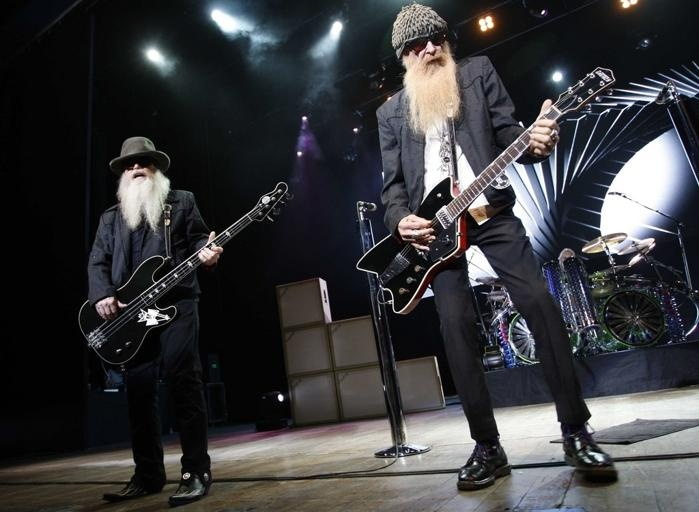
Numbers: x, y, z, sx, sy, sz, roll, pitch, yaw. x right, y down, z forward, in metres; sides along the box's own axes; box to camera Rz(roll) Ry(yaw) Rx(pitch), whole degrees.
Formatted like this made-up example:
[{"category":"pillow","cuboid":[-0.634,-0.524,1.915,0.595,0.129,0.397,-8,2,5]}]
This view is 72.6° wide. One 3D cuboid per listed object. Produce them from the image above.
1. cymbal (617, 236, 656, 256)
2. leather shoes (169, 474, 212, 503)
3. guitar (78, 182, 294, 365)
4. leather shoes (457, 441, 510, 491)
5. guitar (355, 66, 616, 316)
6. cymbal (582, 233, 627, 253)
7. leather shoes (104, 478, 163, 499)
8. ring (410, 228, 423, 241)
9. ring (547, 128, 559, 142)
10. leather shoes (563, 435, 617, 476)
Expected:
[{"category":"cymbal","cuboid":[4.131,-0.132,6.860,0.390,0.097,0.397,-26,-7,17]},{"category":"leather shoes","cuboid":[-0.933,1.346,2.791,0.133,0.148,0.248,-10,-12,16]},{"category":"guitar","cuboid":[-1.353,0.170,3.137,0.928,1.065,0.182,-7,-11,3]},{"category":"leather shoes","cuboid":[0.676,1.054,2.392,0.339,0.207,0.137,12,-35,-43]},{"category":"guitar","cuboid":[0.667,-0.293,2.629,1.372,1.070,0.217,-12,-13,25]},{"category":"cymbal","cuboid":[3.543,-0.195,6.582,0.357,0.149,0.365,-22,-34,14]},{"category":"leather shoes","cuboid":[-1.346,1.472,3.021,0.363,0.153,0.135,9,-30,-22]},{"category":"ring","cuboid":[0.371,-0.118,2.607,0.036,0.050,0.012,22,13,33]},{"category":"ring","cuboid":[1.054,-0.626,2.440,0.048,0.072,0.017,-9,1,27]},{"category":"leather shoes","cuboid":[1.160,0.953,2.294,0.170,0.193,0.192,-7,-11,1]}]
